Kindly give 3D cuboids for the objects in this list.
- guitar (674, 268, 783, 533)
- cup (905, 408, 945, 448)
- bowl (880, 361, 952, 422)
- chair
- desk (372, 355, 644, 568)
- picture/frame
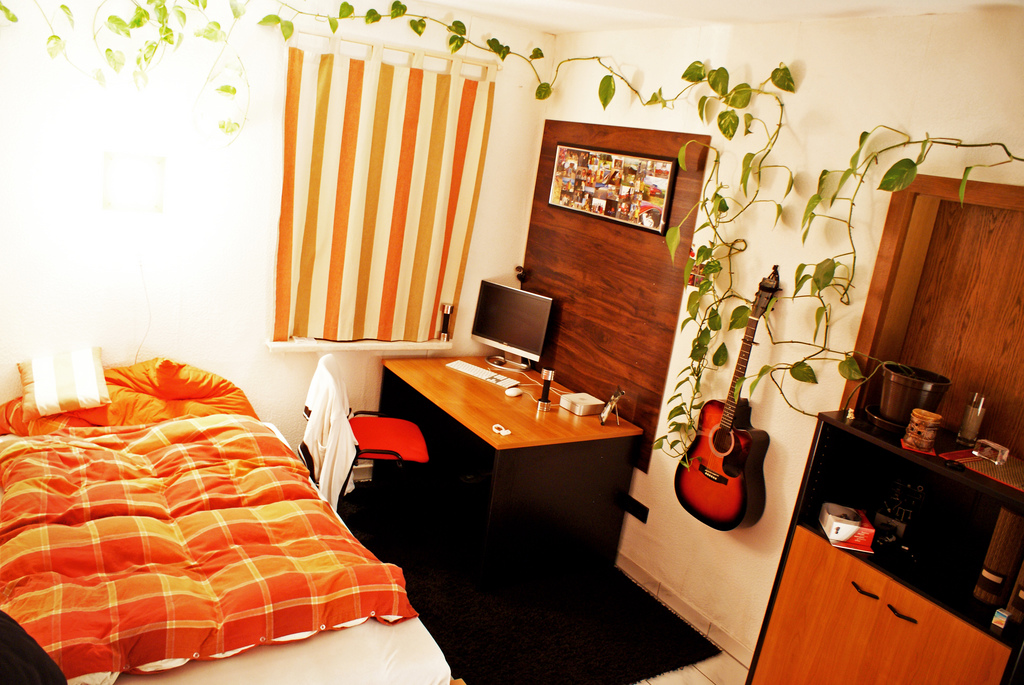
[{"bbox_3d":[1.234,0.314,3.690,0.261,1.446,0.483,-4,18,-30],"label":"guitar"},{"bbox_3d":[1.743,0.346,2.896,0.157,0.167,0.154,5,8,-1],"label":"cup"},{"bbox_3d":[1.769,0.224,2.985,0.231,0.240,0.230,5,15,-1],"label":"bowl"},{"bbox_3d":[-1.088,0.536,4.640,0.834,1.005,0.683,-1,48,-19],"label":"chair"},{"bbox_3d":[-0.343,0.911,4.947,1.193,1.013,2.122,10,6,-41],"label":"desk"},{"bbox_3d":[0.649,-1.046,4.478,0.038,0.452,0.993,-13,26,-40],"label":"picture/frame"}]
